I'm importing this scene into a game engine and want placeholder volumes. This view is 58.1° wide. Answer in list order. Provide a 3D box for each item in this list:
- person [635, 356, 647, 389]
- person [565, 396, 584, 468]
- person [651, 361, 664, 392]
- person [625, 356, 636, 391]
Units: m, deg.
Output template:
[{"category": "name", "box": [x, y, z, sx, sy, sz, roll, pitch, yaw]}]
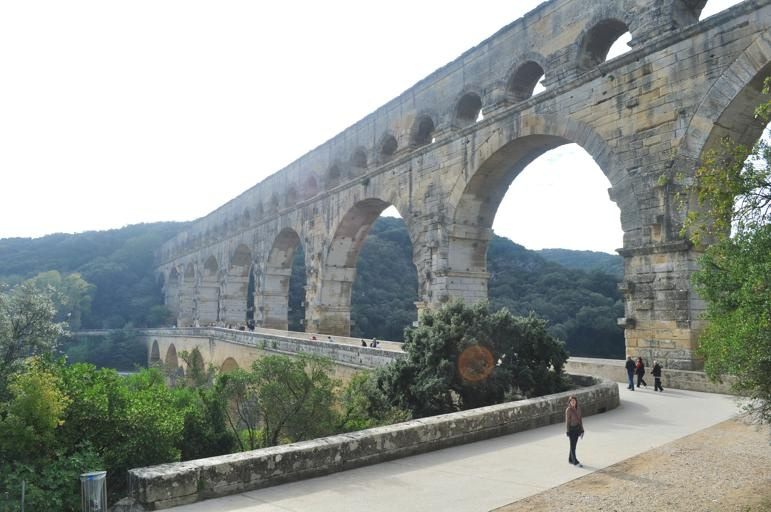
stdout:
[{"category": "person", "box": [7.547, 3.422, 20.694, 0.258, 0.863, 0.538, -5, -9, 25]}, {"category": "person", "box": [3.935, 3.638, 14.625, 0.319, 1.353, 0.681, -3, -9, 13]}, {"category": "person", "box": [7.842, 3.482, 20.183, 0.283, 0.825, 0.666, -4, -9, 21]}, {"category": "person", "box": [7.253, 3.460, 20.665, 0.289, 0.997, 0.955, -4, -9, 19]}]
